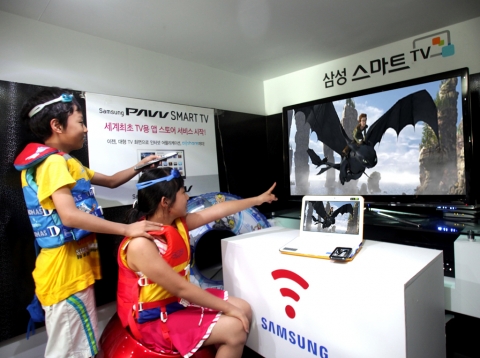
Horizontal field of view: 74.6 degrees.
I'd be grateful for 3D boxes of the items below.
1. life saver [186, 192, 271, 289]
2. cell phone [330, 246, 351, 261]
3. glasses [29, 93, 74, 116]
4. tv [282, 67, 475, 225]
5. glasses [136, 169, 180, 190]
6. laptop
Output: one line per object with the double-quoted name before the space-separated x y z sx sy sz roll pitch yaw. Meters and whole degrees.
"life saver" -0.266 0.586 3.107 0.852 0.892 0.222 -22 6 -32
"cell phone" 0.612 0.455 1.890 0.112 0.038 0.147 1 13 31
"glasses" -1.273 -0.488 2.136 0.221 0.057 0.158 -31 25 -16
"tv" 1.286 -0.286 2.808 1.540 0.948 0.026 -2 2 39
"glasses" -0.533 0.006 2.048 0.188 0.064 0.158 -17 10 -4
"laptop" 0.530 0.295 2.033 0.477 0.329 0.368 0 12 29
